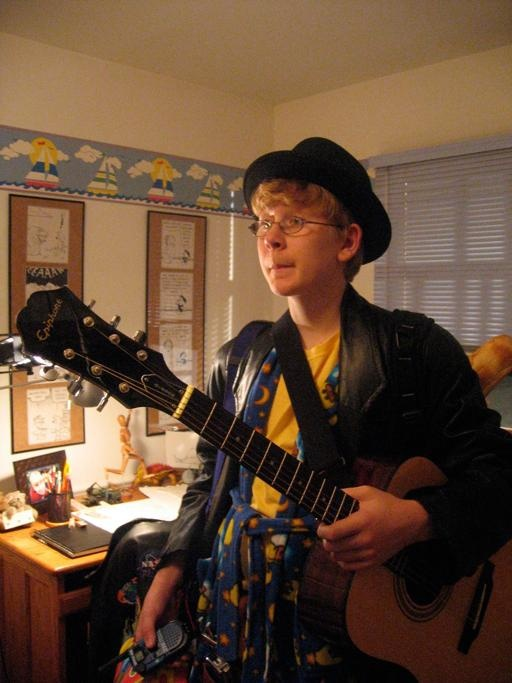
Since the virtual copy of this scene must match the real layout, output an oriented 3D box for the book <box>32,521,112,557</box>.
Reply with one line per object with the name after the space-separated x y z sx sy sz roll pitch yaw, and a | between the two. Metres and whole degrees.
-0.537 0.597 1.762 0.122 0.020 0.116 16 6 38 | book
